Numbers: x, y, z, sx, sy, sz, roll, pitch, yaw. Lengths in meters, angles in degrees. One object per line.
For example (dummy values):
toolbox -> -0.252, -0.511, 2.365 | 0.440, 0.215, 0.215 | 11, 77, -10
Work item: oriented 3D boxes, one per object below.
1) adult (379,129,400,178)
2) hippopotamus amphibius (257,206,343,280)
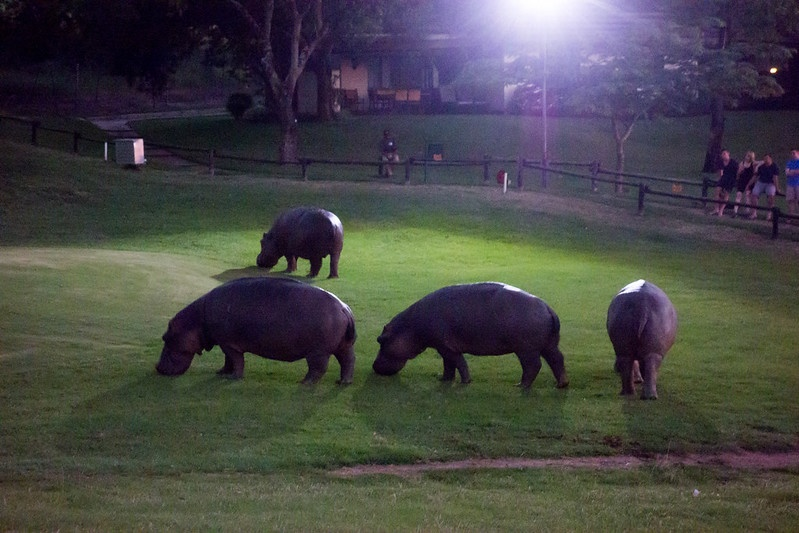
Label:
adult -> -0.429, -5.028, 48.739 | 0.706, 2.124, 0.555 | -11, 8, -16
hippopotamus amphibius -> -3.032, -0.773, 33.065 | 2.992, 1.999, 1.528 | 7, 6, 39
